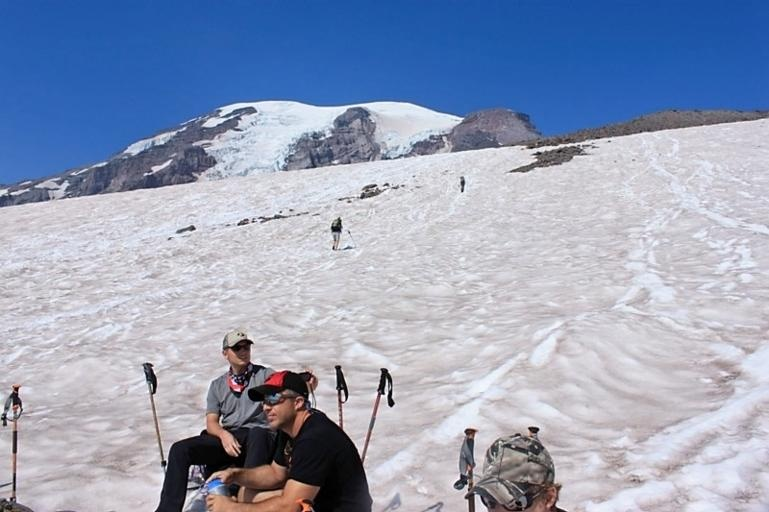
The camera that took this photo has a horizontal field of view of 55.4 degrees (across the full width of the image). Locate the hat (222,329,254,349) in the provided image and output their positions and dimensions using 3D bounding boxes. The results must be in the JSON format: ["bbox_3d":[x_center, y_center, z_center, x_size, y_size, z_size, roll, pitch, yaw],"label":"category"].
[{"bbox_3d":[-3.172,1.724,15.286,0.530,0.272,0.652,2,-17,-37],"label":"hat"}]
